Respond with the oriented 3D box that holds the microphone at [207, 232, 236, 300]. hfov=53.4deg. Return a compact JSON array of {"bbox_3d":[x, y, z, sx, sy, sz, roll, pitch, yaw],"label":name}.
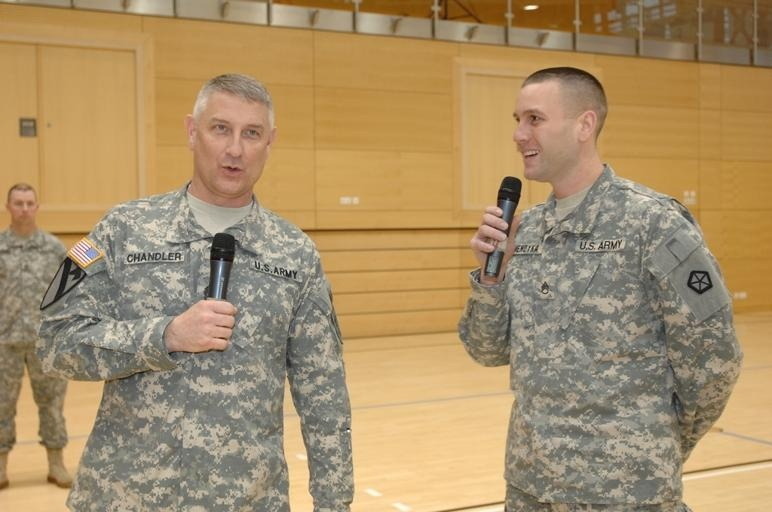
[{"bbox_3d":[-0.608,0.036,2.817,0.095,0.237,0.117,0,7,0],"label":"microphone"}]
